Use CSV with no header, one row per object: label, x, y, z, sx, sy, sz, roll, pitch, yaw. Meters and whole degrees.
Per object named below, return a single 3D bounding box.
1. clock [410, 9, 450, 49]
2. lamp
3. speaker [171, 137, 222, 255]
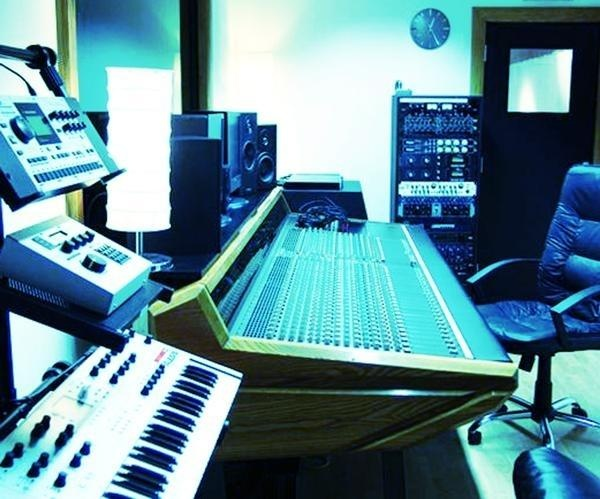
clock,1.068,-1.849,4.445,0.261,0.286,0.029,-5,12,7
lamp,-0.386,-0.237,1.294,0.174,0.381,0.069,-8,19,-22
speaker,-0.300,-0.153,1.539,0.153,0.310,0.101,-5,18,-15
